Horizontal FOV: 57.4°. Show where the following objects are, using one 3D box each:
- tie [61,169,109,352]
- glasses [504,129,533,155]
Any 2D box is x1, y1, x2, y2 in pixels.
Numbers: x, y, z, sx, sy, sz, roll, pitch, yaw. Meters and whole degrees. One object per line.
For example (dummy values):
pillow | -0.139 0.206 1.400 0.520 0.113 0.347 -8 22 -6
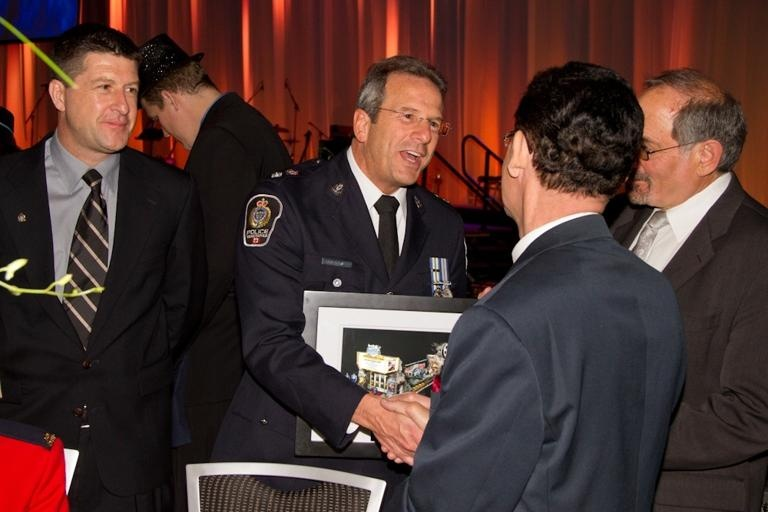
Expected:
tie | -1.355 0.007 3.231 0.182 0.812 0.199 2 3 -24
glasses | 0.513 -0.448 2.684 0.033 0.104 0.102 -21 27 -34
